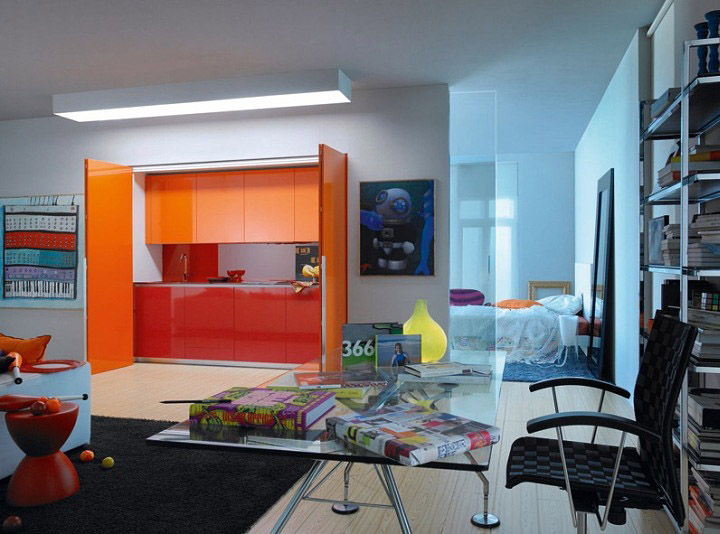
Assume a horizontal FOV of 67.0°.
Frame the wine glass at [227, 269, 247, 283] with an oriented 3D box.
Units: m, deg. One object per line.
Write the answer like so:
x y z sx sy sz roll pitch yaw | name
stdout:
-1.710 0.098 7.464 0.183 0.125 0.198 4 3 34 | wine glass

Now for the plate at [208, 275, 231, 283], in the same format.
-1.867 0.151 7.238 0.292 0.074 0.419 -3 6 -12 | plate

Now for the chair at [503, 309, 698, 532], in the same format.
1.115 0.785 2.617 0.786 1.090 0.728 0 6 14 | chair

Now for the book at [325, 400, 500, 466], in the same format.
0.207 0.661 2.202 0.572 0.111 0.462 5 8 43 | book
